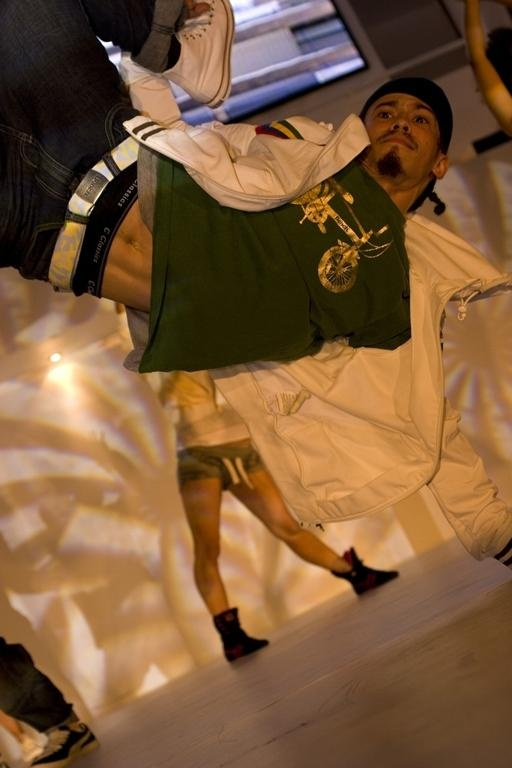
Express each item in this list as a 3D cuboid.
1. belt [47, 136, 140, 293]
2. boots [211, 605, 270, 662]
[{"bbox_3d":[-0.270,-0.278,1.047,0.057,0.218,0.159,22,17,-16],"label":"belt"},{"bbox_3d":[-0.049,0.741,1.863,0.131,0.085,0.156,-23,53,-4],"label":"boots"}]
